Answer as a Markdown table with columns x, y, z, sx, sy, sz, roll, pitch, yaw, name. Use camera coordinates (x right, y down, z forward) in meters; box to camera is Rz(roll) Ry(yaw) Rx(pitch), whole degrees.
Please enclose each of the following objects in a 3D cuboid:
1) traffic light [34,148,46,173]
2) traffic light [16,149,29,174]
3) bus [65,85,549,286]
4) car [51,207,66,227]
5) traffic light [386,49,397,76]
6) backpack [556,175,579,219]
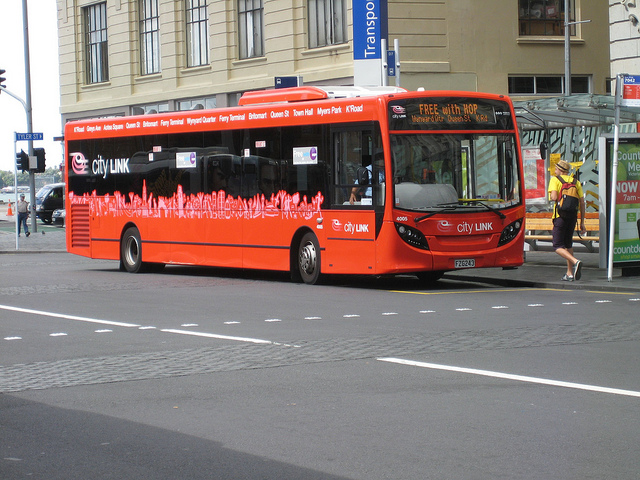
| x | y | z | sx | sy | sz | roll | pitch | yaw | name |
| --- | --- | --- | --- | --- | --- | --- | --- | --- | --- |
| -14.378 | -4.067 | 40.036 | 0.507 | 1.180 | 1.388 | -4 | 5 | -20 | traffic light |
| -14.624 | -3.918 | 38.464 | 0.454 | 1.091 | 1.695 | -4 | 5 | -19 | traffic light |
| -1.686 | -1.337 | 19.918 | 11.612 | 4.342 | 3.799 | 2 | 4 | 38 | bus |
| -15.235 | -1.321 | 45.575 | 1.001 | 0.996 | 1.796 | -2 | 11 | -33 | car |
| 2.078 | -5.167 | 22.905 | 0.404 | 0.737 | 0.190 | -7 | 6 | -43 | traffic light |
| 4.994 | -0.877 | 15.926 | 0.434 | 0.865 | 0.846 | 6 | -10 | 6 | backpack |
